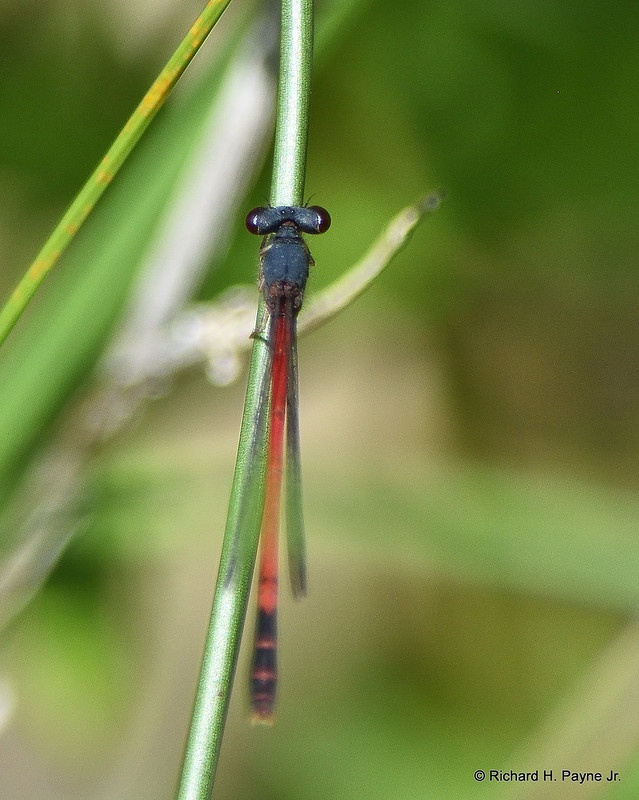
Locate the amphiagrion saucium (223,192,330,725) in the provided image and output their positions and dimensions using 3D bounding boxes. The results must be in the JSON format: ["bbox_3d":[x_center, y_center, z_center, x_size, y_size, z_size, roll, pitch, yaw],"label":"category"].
[{"bbox_3d":[-0.041,0.079,1.281,0.165,0.718,0.068,-1,-4,2],"label":"amphiagrion saucium"}]
